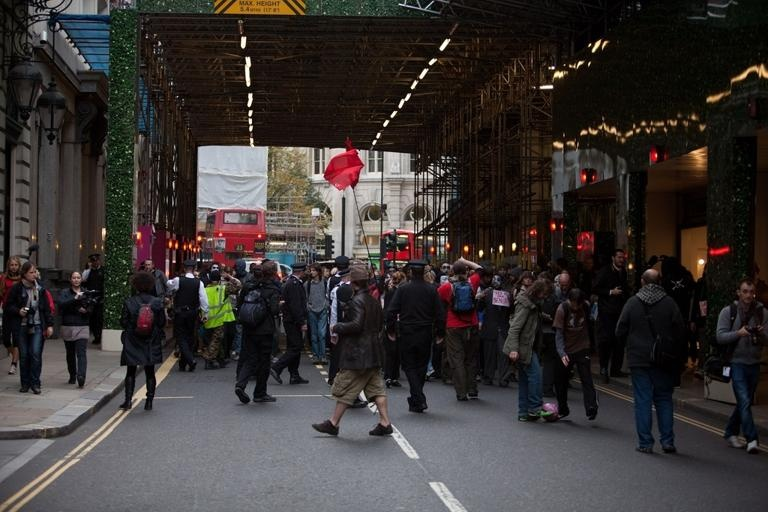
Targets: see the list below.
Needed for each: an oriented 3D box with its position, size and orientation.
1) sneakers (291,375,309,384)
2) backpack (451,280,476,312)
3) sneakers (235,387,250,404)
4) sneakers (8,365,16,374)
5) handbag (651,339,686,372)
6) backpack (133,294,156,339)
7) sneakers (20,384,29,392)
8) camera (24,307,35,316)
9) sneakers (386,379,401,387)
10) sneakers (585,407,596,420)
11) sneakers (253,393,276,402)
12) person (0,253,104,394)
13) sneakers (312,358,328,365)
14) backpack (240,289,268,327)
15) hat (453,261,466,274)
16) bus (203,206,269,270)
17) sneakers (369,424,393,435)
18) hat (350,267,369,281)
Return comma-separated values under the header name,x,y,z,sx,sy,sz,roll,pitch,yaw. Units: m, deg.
name,x,y,z,sx,sy,sz,roll,pitch,yaw
sneakers,-1.837,2.715,18.621,0.450,0.209,0.163,-2,3,-26
backpack,1.620,0.765,16.961,0.525,0.741,0.430,-2,20,5
sneakers,-2.735,2.657,16.080,0.180,0.184,0.441,-13,-46,11
sneakers,-8.248,2.506,18.558,0.114,0.159,0.355,0,-9,-10
handbag,4.380,1.466,12.953,0.500,0.442,0.193,5,4,-28
backpack,-4.370,1.173,15.448,0.345,0.600,0.327,9,7,-13
sneakers,-7.085,2.569,16.460,0.163,0.134,0.307,0,0,-24
camera,-7.077,1.097,16.738,0.145,0.213,0.190,16,13,-38
sneakers,0.216,2.757,18.384,0.394,0.180,0.144,1,-1,-40
sneakers,3.607,2.730,14.607,0.175,0.237,0.238,0,-12,6
sneakers,-2.337,2.717,16.333,0.375,0.172,0.177,0,0,-13
person,-6.869,1.385,16.931,1.533,2.516,1.114,0,1,-26
sneakers,-1.737,2.788,22.331,0.455,0.209,0.160,2,-7,13
backpack,-2.596,1.028,16.501,0.521,0.736,0.373,4,-9,32
hat,1.525,0.231,16.897,0.295,0.225,0.482,7,4,7
bus,-9.053,-1.176,51.898,2.699,4.122,7.637,0,-2,-12
sneakers,-0.033,2.800,13.626,0.415,0.180,0.147,-1,-4,8
hat,-0.410,0.297,13.842,0.200,0.219,0.266,2,-7,-35
